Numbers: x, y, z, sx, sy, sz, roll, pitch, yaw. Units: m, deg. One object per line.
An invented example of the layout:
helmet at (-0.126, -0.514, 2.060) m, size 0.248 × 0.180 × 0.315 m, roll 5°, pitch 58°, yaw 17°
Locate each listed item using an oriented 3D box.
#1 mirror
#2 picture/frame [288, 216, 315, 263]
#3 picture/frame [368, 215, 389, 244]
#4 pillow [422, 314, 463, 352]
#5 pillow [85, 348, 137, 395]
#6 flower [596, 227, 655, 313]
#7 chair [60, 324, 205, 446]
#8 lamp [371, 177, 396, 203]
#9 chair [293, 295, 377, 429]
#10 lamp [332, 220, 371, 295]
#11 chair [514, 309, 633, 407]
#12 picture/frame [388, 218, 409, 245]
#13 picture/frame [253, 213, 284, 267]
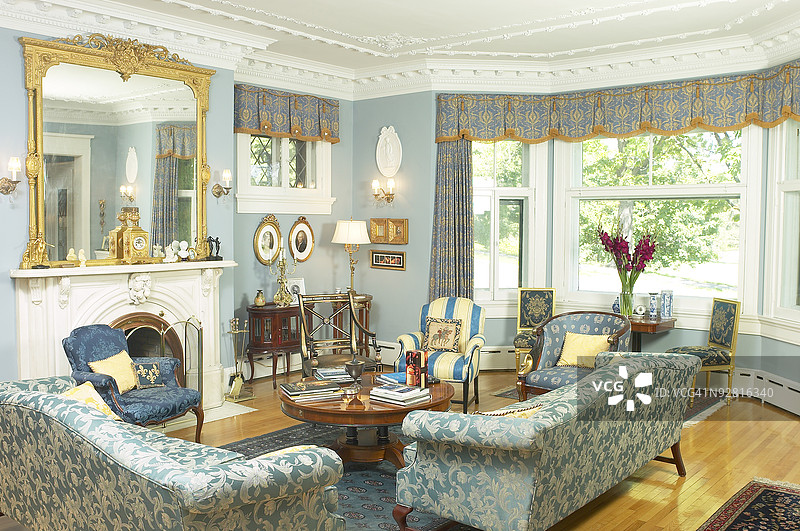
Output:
mirror at (-3.049, -1.249, 6.195) m, size 0.220 × 2.814 × 2.665 m, roll 2°, pitch 3°, yaw 36°
picture/frame at (-1.428, -0.380, 8.418) m, size 0.081 × 0.798 × 0.645 m, roll 3°, pitch 6°, yaw 33°
picture/frame at (-0.300, -0.522, 8.687) m, size 0.443 × 0.511 × 0.039 m, roll 1°, pitch 0°, yaw 40°
pillow at (0.532, 0.825, 7.092) m, size 0.457 × 0.432 × 0.082 m, roll 2°, pitch -26°, yaw 13°
pillow at (-2.691, 0.992, 5.441) m, size 0.163 × 0.317 × 0.445 m, roll -37°, pitch -11°, yaw 13°
flower at (3.016, 0.080, 7.822) m, size 0.660 × 1.091 × 0.694 m, roll 1°, pitch 6°, yaw 21°
chair at (-2.694, 1.127, 5.876) m, size 1.194 × 1.433 × 1.277 m, roll -1°, pitch 0°, yaw 31°
lamp at (-0.225, -1.109, 8.604) m, size 0.155 × 0.296 × 0.338 m, roll -16°, pitch 18°, yaw -40°
chair at (-0.818, 0.911, 7.525) m, size 1.059 × 1.538 × 1.032 m, roll -1°, pitch 1°, yaw -22°
lamp at (-0.682, -0.111, 8.422) m, size 0.473 × 1.068 × 0.980 m, roll -1°, pitch 5°, yaw -2°
chair at (1.865, 0.930, 6.680) m, size 1.039 × 1.309 × 1.152 m, roll -1°, pitch -4°, yaw 34°
picture/frame at (-0.008, -0.497, 8.523) m, size 0.383 × 0.445 × 0.047 m, roll 2°, pitch 1°, yaw 35°
picture/frame at (-1.826, -0.336, 8.066) m, size 0.076 × 0.942 × 0.708 m, roll 3°, pitch 6°, yaw 35°
